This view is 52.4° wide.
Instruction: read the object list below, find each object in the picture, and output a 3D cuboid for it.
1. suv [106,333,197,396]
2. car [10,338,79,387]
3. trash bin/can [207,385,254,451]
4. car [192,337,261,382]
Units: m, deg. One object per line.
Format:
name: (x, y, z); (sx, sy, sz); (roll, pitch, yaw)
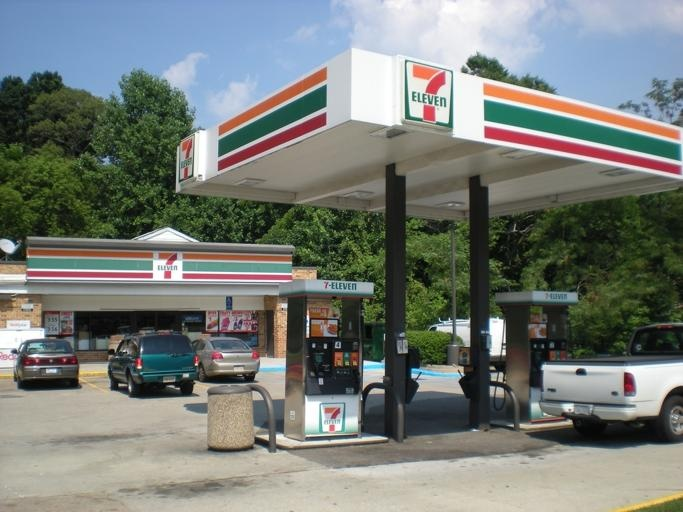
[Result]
suv: (-6.200, 3.473, 22.503); (1.706, 2.038, 2.989); (7, -11, -45)
car: (-10.445, 3.777, 24.473); (1.917, 1.719, 2.285); (6, -10, -38)
trash bin/can: (-2.228, 3.205, 14.031); (1.132, 1.313, 1.157); (1, -2, -9)
car: (-4.228, 3.771, 25.539); (2.384, 1.562, 1.233); (-1, -8, 2)
